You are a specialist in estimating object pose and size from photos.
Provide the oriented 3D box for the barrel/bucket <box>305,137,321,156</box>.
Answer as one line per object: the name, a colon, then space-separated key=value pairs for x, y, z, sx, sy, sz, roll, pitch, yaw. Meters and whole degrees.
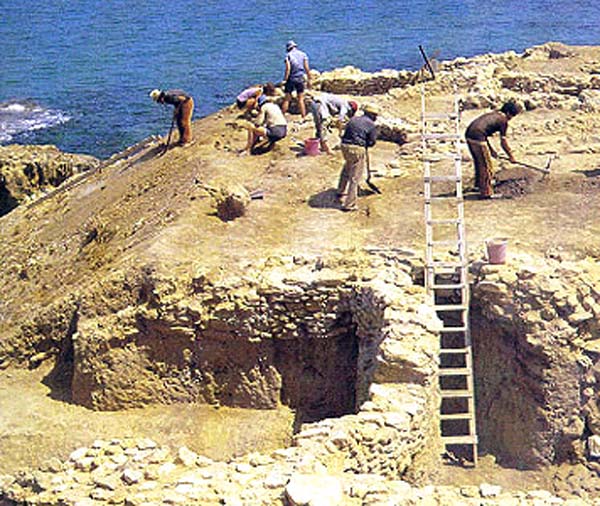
barrel/bucket: x=0.286 y=-2.584 z=29.592 sx=0.381 sy=0.361 sz=0.386 roll=1 pitch=15 yaw=0

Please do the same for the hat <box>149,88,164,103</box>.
hat: x=-3.657 y=-4.009 z=30.916 sx=0.521 sy=0.256 sz=0.234 roll=17 pitch=28 yaw=41

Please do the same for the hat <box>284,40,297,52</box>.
hat: x=-0.229 y=-5.282 z=30.833 sx=0.207 sy=0.308 sz=0.577 roll=-3 pitch=21 yaw=-3

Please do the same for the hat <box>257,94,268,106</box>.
hat: x=-0.948 y=-3.765 z=29.902 sx=0.188 sy=0.266 sz=0.135 roll=-28 pitch=73 yaw=-27

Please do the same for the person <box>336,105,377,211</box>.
person: x=1.277 y=-2.068 z=27.599 sx=0.894 sy=2.157 sz=0.739 roll=4 pitch=21 yaw=14

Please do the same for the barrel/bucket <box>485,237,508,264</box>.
barrel/bucket: x=4.198 y=-0.001 z=25.706 sx=0.457 sy=0.484 sz=0.498 roll=0 pitch=6 yaw=0
